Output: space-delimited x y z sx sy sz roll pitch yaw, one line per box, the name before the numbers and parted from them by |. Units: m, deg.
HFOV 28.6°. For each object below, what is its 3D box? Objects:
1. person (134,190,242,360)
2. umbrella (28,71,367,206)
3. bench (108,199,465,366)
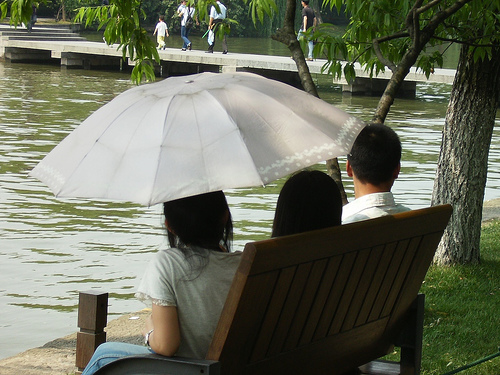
person | -0.408 0.587 6.537 0.706 1.082 0.591 -2 13 -7
umbrella | -0.363 -0.330 6.676 2.159 0.766 0.858 1 13 2
bench | 0.318 0.143 6.871 2.242 1.123 1.244 -2 6 -44
